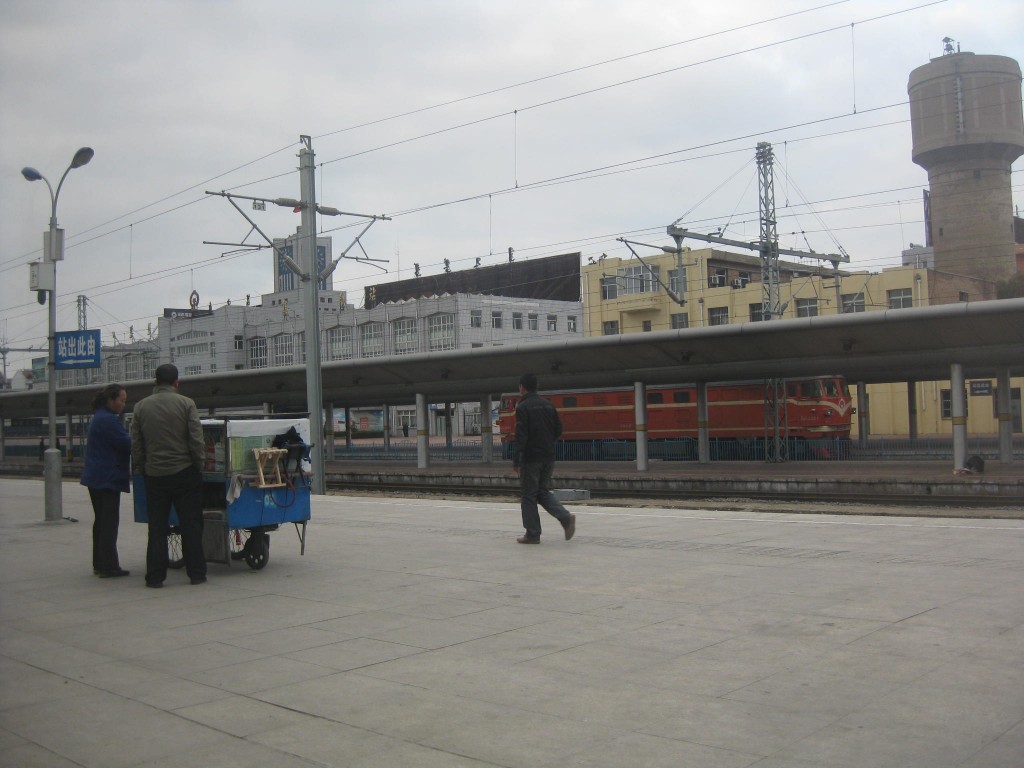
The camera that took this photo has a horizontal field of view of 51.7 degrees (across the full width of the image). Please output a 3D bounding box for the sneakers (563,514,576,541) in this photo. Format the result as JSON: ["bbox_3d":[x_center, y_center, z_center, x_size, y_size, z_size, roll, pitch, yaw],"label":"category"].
[{"bbox_3d":[0.729,1.832,13.600,0.126,0.352,0.233,2,-3,-14],"label":"sneakers"}]

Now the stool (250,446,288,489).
[{"bbox_3d":[-2.688,0.874,11.702,0.497,0.499,0.358,1,1,-35],"label":"stool"}]

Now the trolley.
[{"bbox_3d":[-3.184,1.207,11.975,1.609,1.642,1.746,4,-5,-32],"label":"trolley"}]

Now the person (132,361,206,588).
[{"bbox_3d":[-3.618,0.942,11.126,0.749,2.326,0.487,-2,-2,-9],"label":"person"}]

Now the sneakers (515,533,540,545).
[{"bbox_3d":[0.167,1.960,13.467,0.302,0.131,0.110,7,6,44],"label":"sneakers"}]

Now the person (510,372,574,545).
[{"bbox_3d":[0.373,0.932,13.619,0.703,2.169,0.919,-3,-2,-1],"label":"person"}]

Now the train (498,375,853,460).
[{"bbox_3d":[5.688,1.085,40.413,13.982,3.425,3.218,-3,15,40],"label":"train"}]

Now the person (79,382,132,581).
[{"bbox_3d":[-4.567,1.058,11.891,0.496,2.128,0.950,-2,-3,-22],"label":"person"}]
